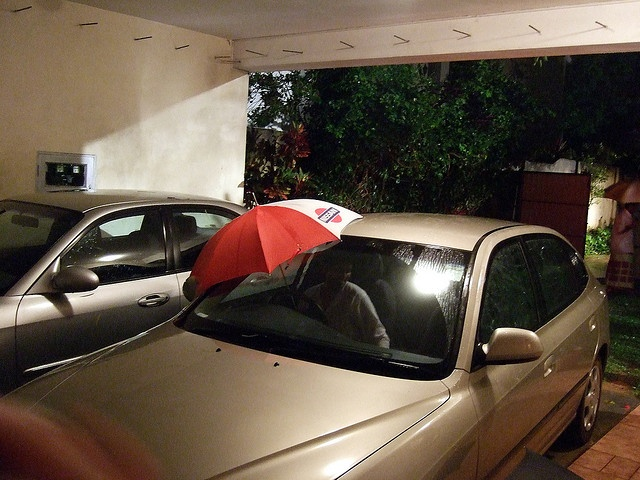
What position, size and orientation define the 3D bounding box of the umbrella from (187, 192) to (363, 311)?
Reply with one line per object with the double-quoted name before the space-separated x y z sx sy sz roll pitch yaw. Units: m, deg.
"umbrella" -0.369 -0.017 2.916 1.007 0.395 1.175 -13 1 -14
